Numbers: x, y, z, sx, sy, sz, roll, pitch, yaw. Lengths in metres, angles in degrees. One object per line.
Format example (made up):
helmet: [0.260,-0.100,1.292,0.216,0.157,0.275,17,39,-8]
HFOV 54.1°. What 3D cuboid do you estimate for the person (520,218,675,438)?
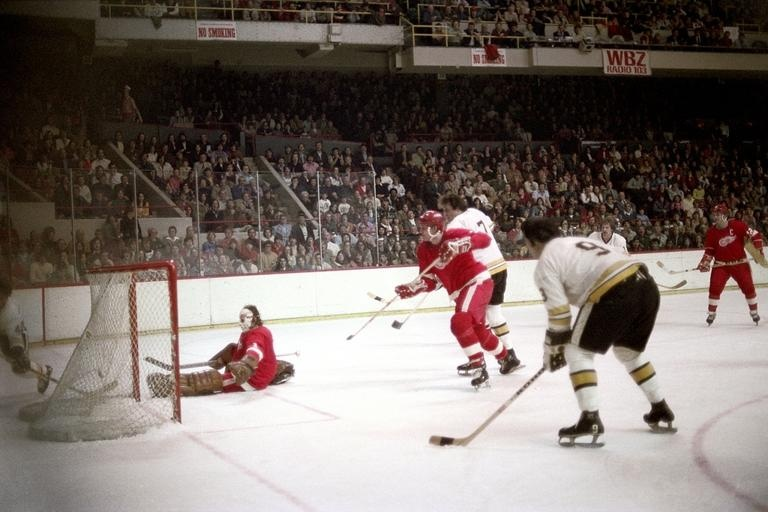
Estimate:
person: [2.312,0.906,8.185,1.343,2.167,0.582,1,11,14]

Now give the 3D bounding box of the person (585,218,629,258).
person: [4.023,-0.299,13.662,0.857,0.769,0.503,8,19,36]

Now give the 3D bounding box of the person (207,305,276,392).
person: [-1.959,1.337,10.478,0.862,1.396,1.496,2,-5,-19]

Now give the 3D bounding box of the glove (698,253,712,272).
glove: [6.519,0.122,15.394,0.161,0.408,0.244,34,-13,-15]

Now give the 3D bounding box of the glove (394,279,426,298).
glove: [0.367,0.476,10.988,0.399,0.251,0.149,-29,-41,11]

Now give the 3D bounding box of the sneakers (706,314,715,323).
sneakers: [5.995,1.173,13.905,0.122,0.212,0.075,24,0,18]

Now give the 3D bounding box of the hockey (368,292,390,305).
hockey: [-0.138,0.691,12.767,0.078,0.185,0.683,29,-4,-6]

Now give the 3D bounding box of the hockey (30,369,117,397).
hockey: [-3.971,1.640,9.709,0.775,0.279,0.436,7,3,-13]
